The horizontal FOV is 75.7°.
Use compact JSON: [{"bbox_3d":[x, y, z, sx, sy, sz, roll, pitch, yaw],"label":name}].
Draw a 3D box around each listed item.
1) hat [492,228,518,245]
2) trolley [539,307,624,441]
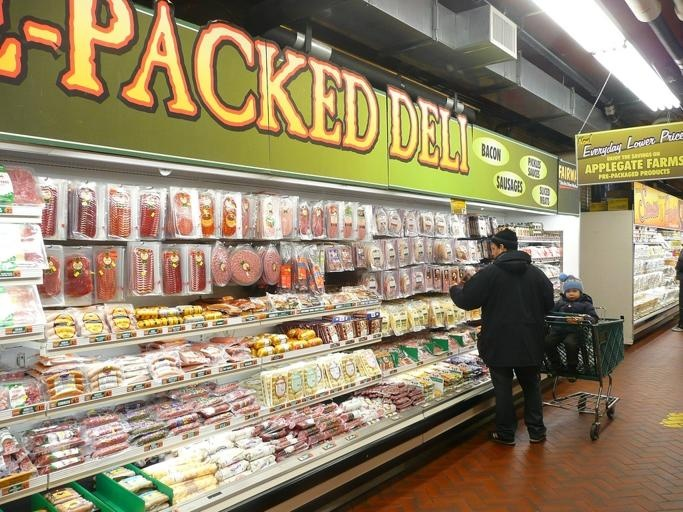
[{"bbox_3d":[1.857,-0.227,5.011,0.243,0.158,0.179,5,5,10],"label":"hat"},{"bbox_3d":[2.870,1.358,5.425,1.406,1.361,0.804,3,-4,-43],"label":"trolley"}]
